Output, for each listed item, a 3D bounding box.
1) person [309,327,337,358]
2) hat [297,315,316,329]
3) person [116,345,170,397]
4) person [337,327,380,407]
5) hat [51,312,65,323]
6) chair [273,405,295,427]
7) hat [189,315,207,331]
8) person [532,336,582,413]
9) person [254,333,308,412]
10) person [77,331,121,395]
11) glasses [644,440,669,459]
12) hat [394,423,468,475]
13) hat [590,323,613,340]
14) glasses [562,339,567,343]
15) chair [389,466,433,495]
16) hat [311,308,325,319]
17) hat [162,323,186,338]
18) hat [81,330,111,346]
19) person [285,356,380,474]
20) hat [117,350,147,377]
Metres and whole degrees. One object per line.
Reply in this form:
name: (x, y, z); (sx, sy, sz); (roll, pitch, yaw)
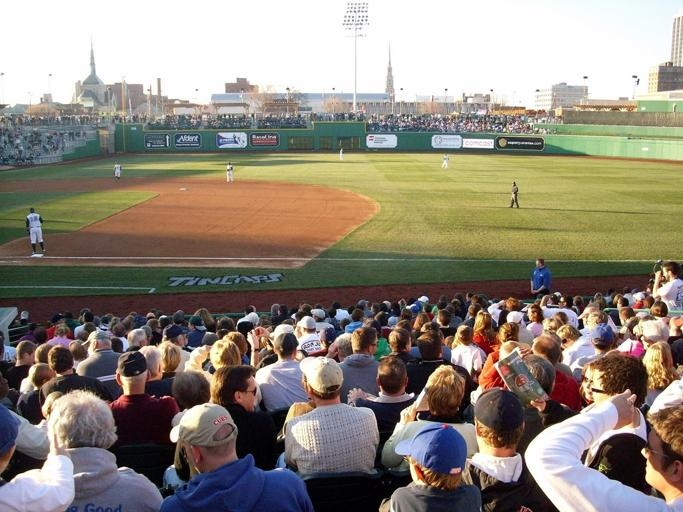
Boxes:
person: (-0.287, 1.264, 11.361); (0.409, 0.341, 0.824); (-1, 11, -3)
hat: (-0.544, 1.043, 12.173); (0.261, 0.198, 0.329); (-1, 11, -6)
person: (-2.557, 1.402, 9.396); (0.609, 0.581, 0.938); (-4, -11, -2)
person: (0.249, 1.623, 9.971); (0.605, 1.484, 0.428); (2, 26, 9)
hat: (-5.659, 1.239, 15.616); (0.203, 0.245, 0.263); (2, 27, -15)
chair: (-0.697, 1.908, 9.442); (0.259, 0.317, 0.273); (1, 28, -4)
hat: (-2.569, 1.196, 13.966); (0.201, 0.204, 0.315); (3, -3, -14)
person: (2.436, 1.371, 8.887); (0.285, 0.246, 0.784); (-40, 17, 20)
person: (-0.764, 1.470, 9.673); (0.664, 1.339, 0.731); (-1, 24, -2)
person: (-3.292, 1.550, 10.831); (0.527, 1.108, 0.553); (-5, 21, -19)
glasses: (2.516, 1.562, 6.290); (0.052, 0.143, 0.229); (-7, 13, -34)
hat: (0.769, 1.604, 6.670); (0.369, 0.269, 0.460); (-11, 28, -34)
hat: (3.114, 0.904, 9.343); (0.226, 0.198, 0.349); (3, 11, 15)
glasses: (3.163, 1.210, 11.135); (0.056, 0.059, 0.059); (6, -15, 42)
chair: (0.569, 1.898, 6.746); (0.219, 0.316, 0.295); (28, -7, -9)
hat: (-0.437, 1.073, 14.258); (0.202, 0.110, 0.150); (18, 26, 29)
hat: (-2.491, 1.128, 11.554); (0.231, 0.193, 0.393); (0, 11, -1)
hat: (-3.583, 1.175, 11.489); (0.356, 0.196, 0.493); (-4, -1, -41)
person: (-0.143, 1.794, 8.420); (0.909, 1.375, 1.409); (-3, -3, -9)
hat: (-2.279, 1.182, 8.507); (0.271, 0.248, 0.209); (-6, 12, -27)
